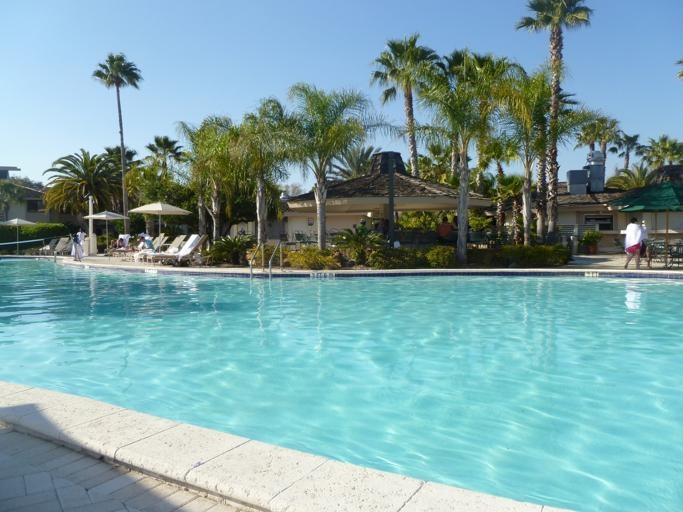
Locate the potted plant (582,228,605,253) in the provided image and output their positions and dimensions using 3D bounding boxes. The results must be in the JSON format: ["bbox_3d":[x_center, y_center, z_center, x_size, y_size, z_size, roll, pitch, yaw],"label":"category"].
[{"bbox_3d":[12.373,-0.789,29.399,0.920,1.292,1.137,0,0,6],"label":"potted plant"}]

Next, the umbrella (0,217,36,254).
[{"bbox_3d":[-20.417,-1.244,37.257,2.207,2.517,2.203,0,-5,-17],"label":"umbrella"}]
